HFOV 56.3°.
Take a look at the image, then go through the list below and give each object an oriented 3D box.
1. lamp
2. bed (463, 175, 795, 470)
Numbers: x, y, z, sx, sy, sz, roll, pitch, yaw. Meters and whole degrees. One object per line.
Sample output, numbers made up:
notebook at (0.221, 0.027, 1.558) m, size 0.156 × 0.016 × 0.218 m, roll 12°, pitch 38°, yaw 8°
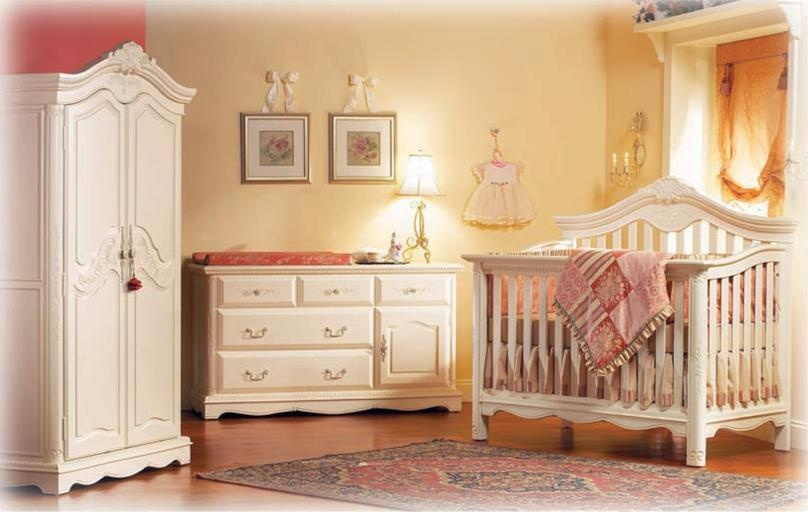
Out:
lamp at (0.136, -0.415, 6.315) m, size 0.363 × 0.929 × 0.254 m, roll 0°, pitch 6°, yaw 0°
bed at (1.624, 0.357, 5.234) m, size 1.945 × 1.813 × 1.183 m, roll 3°, pitch 7°, yaw 26°
